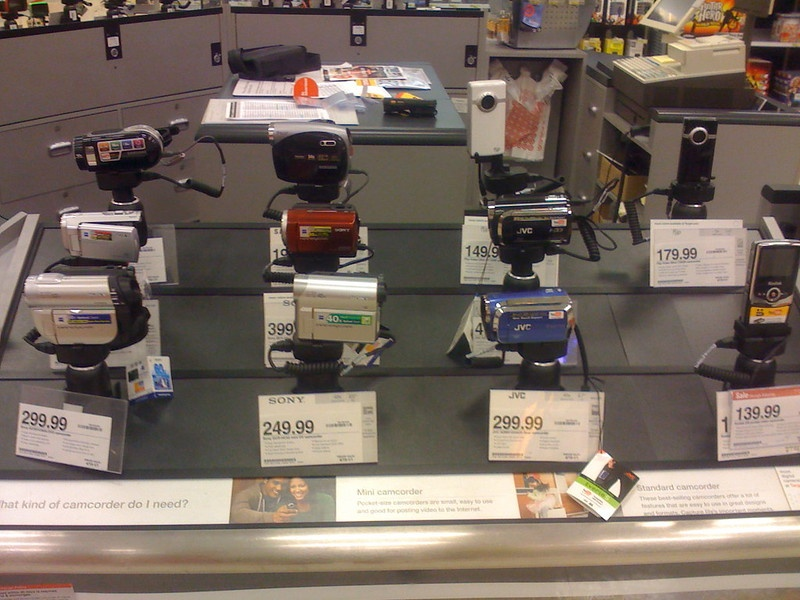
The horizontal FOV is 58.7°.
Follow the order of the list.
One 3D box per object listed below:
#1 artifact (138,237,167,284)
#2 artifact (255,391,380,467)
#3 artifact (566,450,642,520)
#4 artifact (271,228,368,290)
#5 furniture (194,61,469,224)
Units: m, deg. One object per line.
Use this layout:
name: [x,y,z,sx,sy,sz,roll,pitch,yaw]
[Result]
artifact: [-0.645,-0.100,1.847,0.111,0.120,0.027,-5,15,-14]
artifact: [-0.186,0.293,1.595,0.261,0.149,0.085,-4,37,-3]
artifact: [0.451,0.413,1.572,0.104,0.063,0.127,28,46,33]
artifact: [-0.213,-0.114,1.837,0.177,0.046,0.199,-1,24,-2]
furniture: [-0.230,-0.687,3.100,0.838,0.522,0.852,0,43,0]
